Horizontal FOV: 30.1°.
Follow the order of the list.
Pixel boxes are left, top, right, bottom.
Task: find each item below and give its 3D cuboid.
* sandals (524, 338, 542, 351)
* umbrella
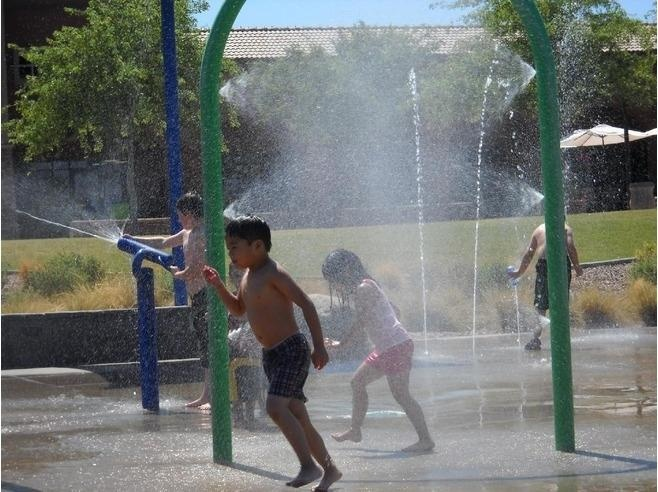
[{"bbox_3d":[3.040,1.445,18.161,0.221,0.181,0.231,-2,0,9],"label":"sandals"},{"bbox_3d":[7.505,-2.127,32.881,3.025,2.586,3.065,-2,-5,0],"label":"umbrella"}]
